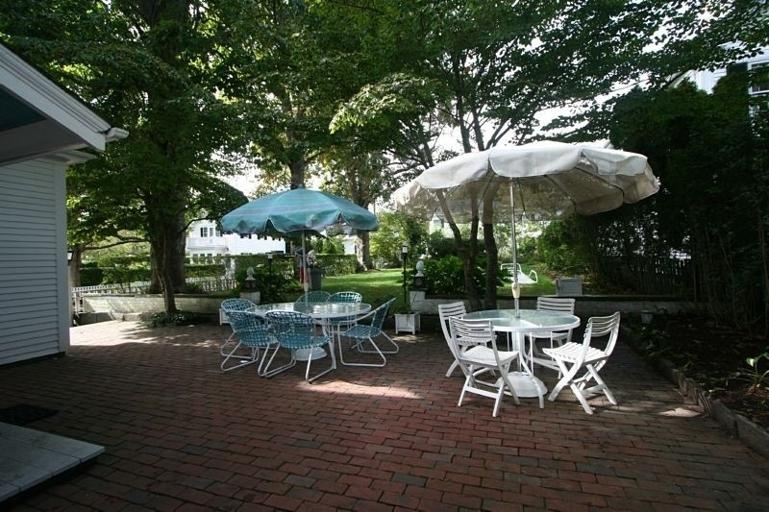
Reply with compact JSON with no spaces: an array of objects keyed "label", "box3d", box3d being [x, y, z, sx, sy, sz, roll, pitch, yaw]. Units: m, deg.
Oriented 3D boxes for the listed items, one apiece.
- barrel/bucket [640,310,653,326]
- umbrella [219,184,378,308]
[{"label":"barrel/bucket","box3d":[5.125,1.223,10.199,0.313,0.194,0.262,-2,1,17]},{"label":"umbrella","box3d":[-1.643,-0.168,8.835,2.421,1.264,2.194,-2,1,-33]}]
